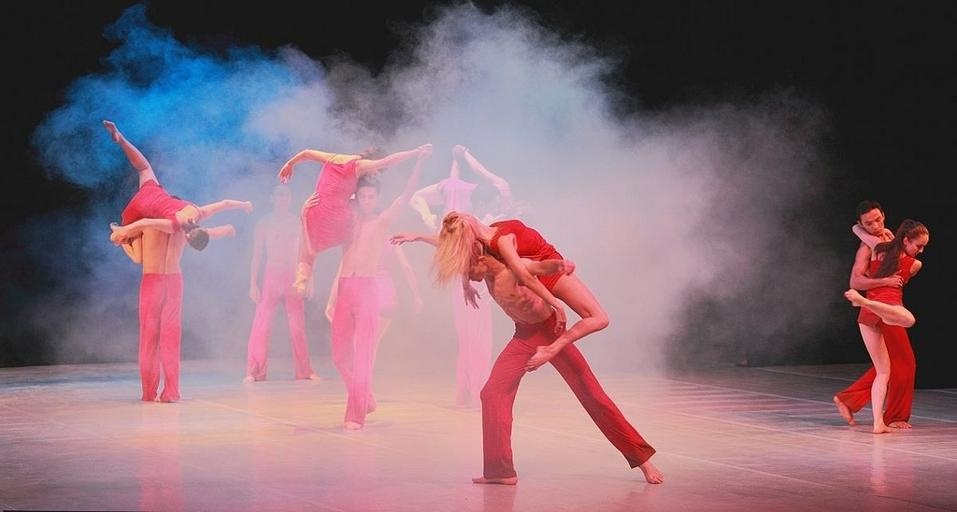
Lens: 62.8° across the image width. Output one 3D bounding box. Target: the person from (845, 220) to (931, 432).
[{"bbox_3d":[5.090,0.862,9.757,1.040,2.601,0.635,-2,7,-20],"label":"person"}]
